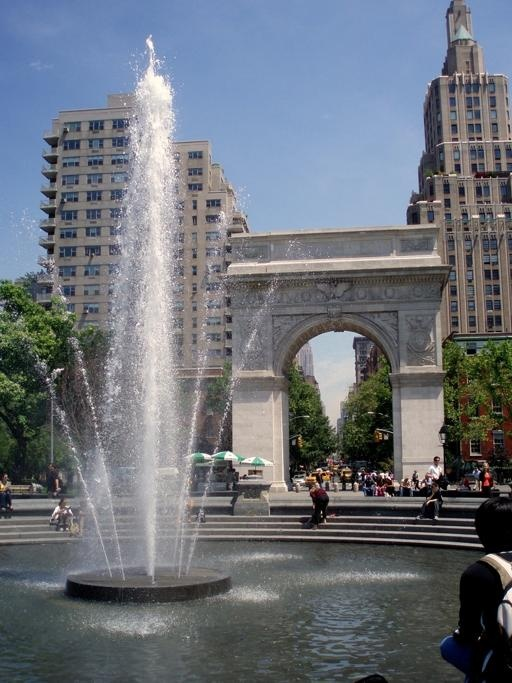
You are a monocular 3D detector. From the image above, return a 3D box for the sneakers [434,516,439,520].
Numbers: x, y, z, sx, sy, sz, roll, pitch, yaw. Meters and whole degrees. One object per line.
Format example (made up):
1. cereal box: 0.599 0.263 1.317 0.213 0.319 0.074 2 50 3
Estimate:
1. sneakers: 4.136 4.098 23.770 0.050 0.059 0.134 -4 -21 7
